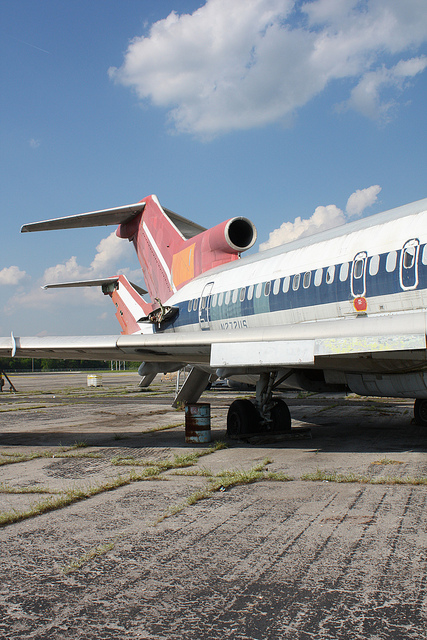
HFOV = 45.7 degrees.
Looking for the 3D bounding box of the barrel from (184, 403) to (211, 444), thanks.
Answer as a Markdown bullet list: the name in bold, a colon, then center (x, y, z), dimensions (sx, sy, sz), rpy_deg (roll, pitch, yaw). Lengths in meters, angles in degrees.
- **barrel**: center (-0.272, 2.349, 11.615), dimensions (0.774, 0.787, 0.752), rpy_deg (-10, -13, 43)
